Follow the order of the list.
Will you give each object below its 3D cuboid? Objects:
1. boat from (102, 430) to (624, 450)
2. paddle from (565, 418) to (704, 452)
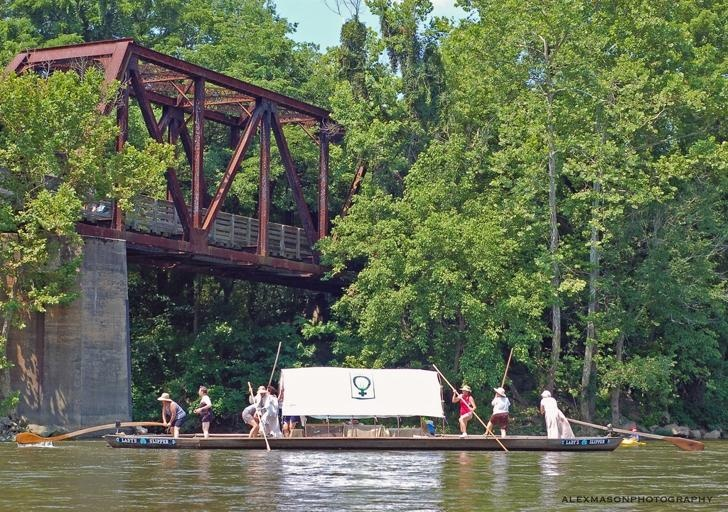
[{"bbox_3d":[0.208,9.274,86.130,24.080,1.226,1.019,-1,-12,-2],"label":"boat"},{"bbox_3d":[14.481,9.743,94.143,8.256,1.125,0.446,10,-36,-9],"label":"paddle"}]
